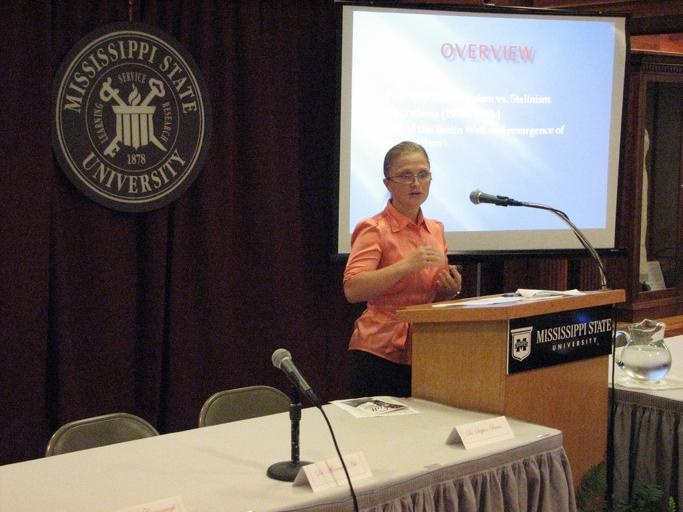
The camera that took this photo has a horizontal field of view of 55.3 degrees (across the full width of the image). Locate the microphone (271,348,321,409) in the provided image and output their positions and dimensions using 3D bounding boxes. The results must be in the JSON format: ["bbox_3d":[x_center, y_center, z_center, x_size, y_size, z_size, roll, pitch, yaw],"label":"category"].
[{"bbox_3d":[-0.149,0.379,2.081,0.129,0.176,0.376,-2,5,-7],"label":"microphone"}]

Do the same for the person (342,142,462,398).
[{"bbox_3d":[0.273,0.058,3.001,0.509,1.167,0.497,-2,4,1],"label":"person"}]

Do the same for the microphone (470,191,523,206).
[{"bbox_3d":[0.693,-0.252,2.899,0.212,0.073,0.428,-1,5,14],"label":"microphone"}]
